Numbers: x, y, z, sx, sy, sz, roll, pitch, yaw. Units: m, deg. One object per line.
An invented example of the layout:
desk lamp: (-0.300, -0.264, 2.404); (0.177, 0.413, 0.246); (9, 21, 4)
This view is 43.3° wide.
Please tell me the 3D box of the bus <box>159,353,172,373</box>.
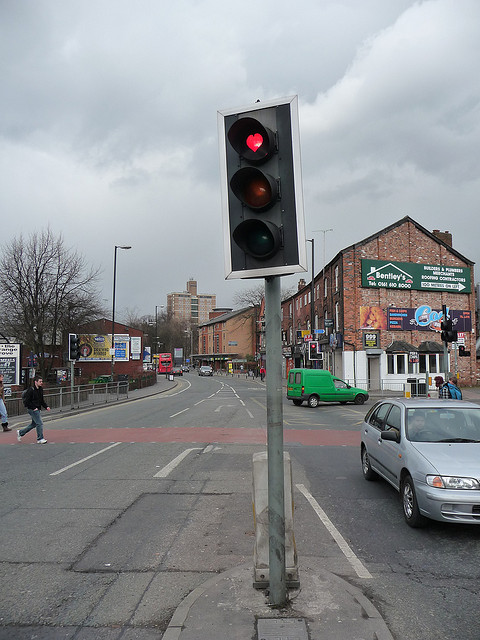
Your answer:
bus: (-10.829, 6.406, 90.349); (1.524, 2.937, 2.800); (1, -9, -9)

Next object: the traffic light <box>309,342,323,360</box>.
traffic light: (4.057, 1.746, 32.507); (0.585, 1.025, 0.212); (-2, -4, 25)

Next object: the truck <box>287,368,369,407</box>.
truck: (3.725, 3.145, 27.452); (2.598, 1.424, 1.755); (-2, -2, -12)

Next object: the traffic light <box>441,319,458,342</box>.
traffic light: (4.953, 0.283, 14.350); (0.327, 0.472, 0.769); (-3, -3, 19)

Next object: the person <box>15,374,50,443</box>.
person: (-4.921, 2.128, 14.350); (0.684, 1.519, 1.937); (-2, -3, -19)

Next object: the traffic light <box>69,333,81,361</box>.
traffic light: (-6.118, 1.044, 22.392); (0.351, 0.985, 0.794); (-2, -2, -15)

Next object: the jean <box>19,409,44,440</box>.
jean: (-4.858, 2.425, 14.043); (0.477, 0.710, 1.040); (-2, -3, -22)

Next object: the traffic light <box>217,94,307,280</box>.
traffic light: (0.149, -0.979, 4.491); (0.644, 1.011, 0.363); (-2, -1, 8)

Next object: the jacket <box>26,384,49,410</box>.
jacket: (-4.573, 1.825, 13.756); (0.412, 0.711, 0.609); (-4, -8, 23)

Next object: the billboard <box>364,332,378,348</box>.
billboard: (8.245, 1.370, 38.046); (0.772, 0.979, 0.158); (-1, -24, 7)
